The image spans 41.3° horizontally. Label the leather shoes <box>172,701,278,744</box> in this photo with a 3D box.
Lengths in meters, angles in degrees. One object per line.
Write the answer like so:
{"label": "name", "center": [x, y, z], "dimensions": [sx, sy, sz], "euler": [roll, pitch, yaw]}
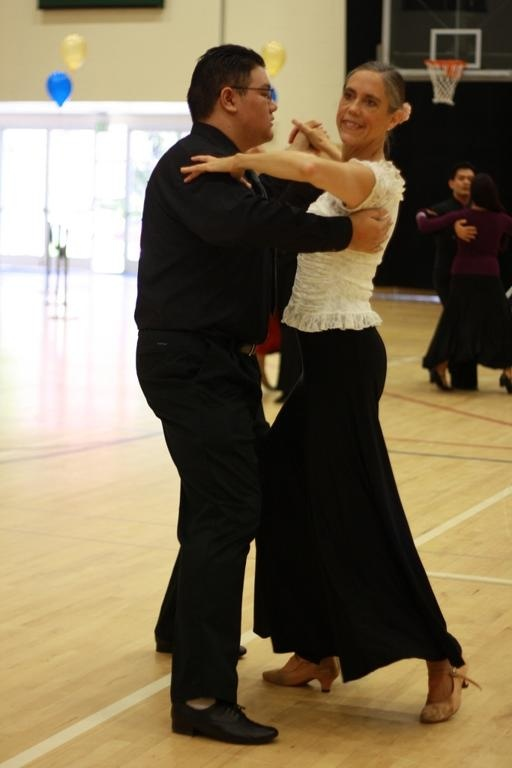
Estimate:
{"label": "leather shoes", "center": [-0.066, 0.678, 1.396], "dimensions": [0.244, 0.097, 0.079], "euler": [2, -9, 0]}

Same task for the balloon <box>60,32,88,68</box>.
{"label": "balloon", "center": [-3.387, -6.140, 12.534], "dimensions": [0.440, 0.597, 0.303], "euler": [1, 6, 7]}

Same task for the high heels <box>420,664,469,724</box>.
{"label": "high heels", "center": [0.429, 0.666, 1.516], "dimensions": [0.064, 0.080, 0.187], "euler": [-7, 12, 26]}

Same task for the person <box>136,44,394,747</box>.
{"label": "person", "center": [-0.058, 0.007, 1.478], "dimensions": [0.416, 1.457, 0.485], "euler": [-5, 8, -44]}

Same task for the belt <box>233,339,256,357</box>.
{"label": "belt", "center": [-0.028, -0.075, 1.490], "dimensions": [0.037, 0.033, 0.026], "euler": [0, 3, 8]}

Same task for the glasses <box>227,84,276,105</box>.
{"label": "glasses", "center": [-0.014, -0.592, 1.388], "dimensions": [0.085, 0.022, 0.079], "euler": [0, 8, -5]}

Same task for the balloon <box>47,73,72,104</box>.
{"label": "balloon", "center": [-3.793, -5.697, 13.014], "dimensions": [0.370, 0.651, 0.479], "euler": [-2, 6, -24]}
